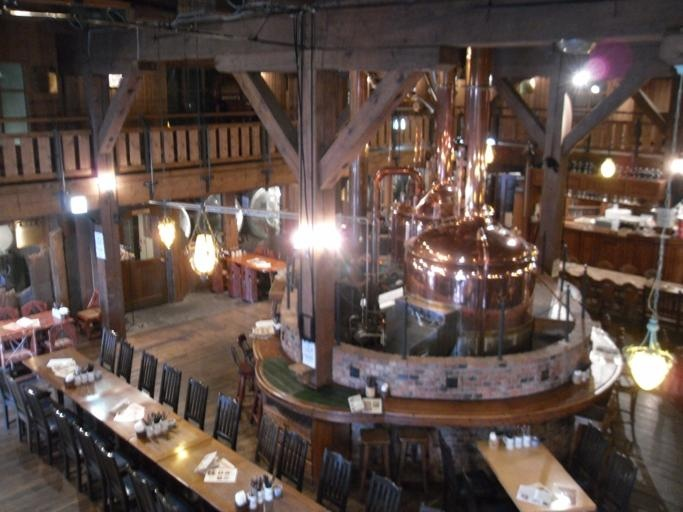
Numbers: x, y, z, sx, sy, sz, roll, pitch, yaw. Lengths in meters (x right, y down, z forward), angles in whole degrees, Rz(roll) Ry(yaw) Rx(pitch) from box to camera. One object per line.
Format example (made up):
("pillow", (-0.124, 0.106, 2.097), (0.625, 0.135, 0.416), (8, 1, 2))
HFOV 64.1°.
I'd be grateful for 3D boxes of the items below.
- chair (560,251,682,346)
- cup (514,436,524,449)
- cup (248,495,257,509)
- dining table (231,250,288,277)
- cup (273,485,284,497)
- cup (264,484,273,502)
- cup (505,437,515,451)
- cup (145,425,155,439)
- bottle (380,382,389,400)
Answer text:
("chair", (6.702, 1.042, 12.843), (1.856, 0.914, 0.561), (21, 37, 39))
("cup", (2.518, 2.642, 7.737), (0.121, 0.168, 0.132), (-2, 4, 0))
("cup", (-1.072, 2.972, 6.578), (0.113, 0.139, 0.107), (-1, 10, 0))
("dining table", (-2.363, 0.239, 15.899), (1.212, 0.532, 2.242), (-10, 13, -42))
("cup", (-0.783, 2.910, 6.790), (0.104, 0.119, 0.116), (1, 2, 7))
("cup", (-0.891, 2.879, 6.613), (0.122, 0.222, 0.132), (0, 1, 0))
("cup", (2.370, 2.654, 7.702), (0.089, 0.168, 0.154), (-3, 5, -18))
("cup", (-2.747, 2.525, 7.830), (0.113, 0.240, 0.137), (-2, -2, 44))
("bottle", (0.677, 2.114, 8.534), (0.178, 0.323, 0.174), (2, 2, 0))
